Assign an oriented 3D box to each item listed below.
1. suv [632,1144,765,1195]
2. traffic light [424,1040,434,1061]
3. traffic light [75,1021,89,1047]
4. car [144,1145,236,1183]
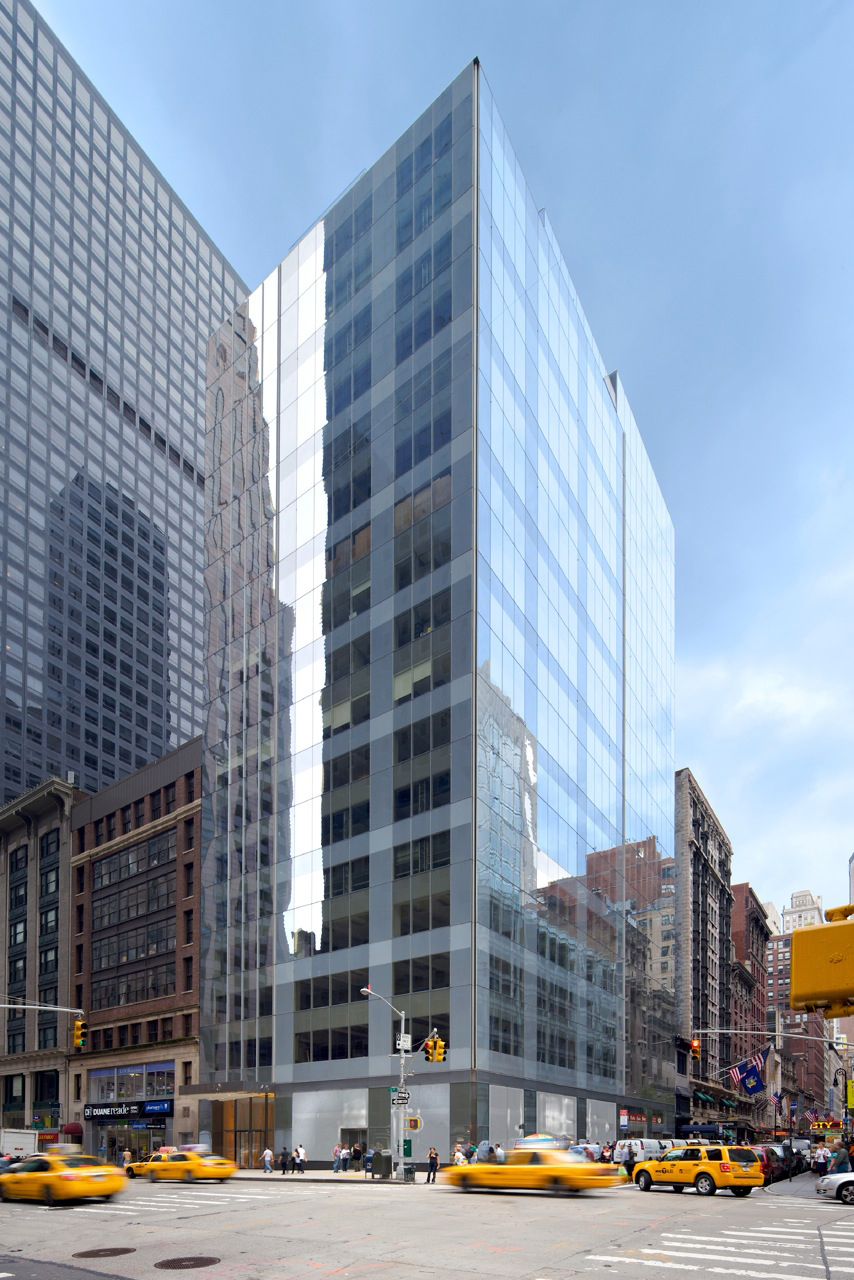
[{"bbox_3d":[8.267,15.997,44.464,1.479,1.700,4.563,12,-27,-28],"label":"suv"},{"bbox_3d":[0.017,14.392,51.848,0.132,0.641,0.768,3,-22,-9],"label":"traffic light"},{"bbox_3d":[-12.478,13.964,52.536,0.344,1.047,1.238,7,-23,-19],"label":"traffic light"},{"bbox_3d":[-8.171,17.478,48.979,2.008,1.279,3.967,16,-29,-34],"label":"car"}]
